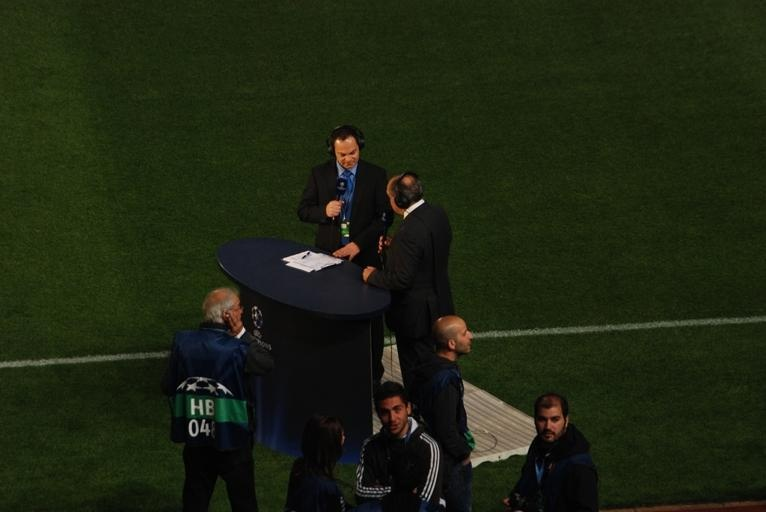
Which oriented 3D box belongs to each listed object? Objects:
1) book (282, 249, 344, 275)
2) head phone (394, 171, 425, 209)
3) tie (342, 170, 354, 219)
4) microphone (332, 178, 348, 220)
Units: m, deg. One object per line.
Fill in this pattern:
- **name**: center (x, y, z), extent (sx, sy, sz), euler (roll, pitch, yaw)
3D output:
- **book**: center (-0.726, 0.054, 7.938), extent (0.513, 0.112, 0.452), euler (10, 14, 33)
- **head phone**: center (0.243, -0.642, 7.661), extent (0.270, 0.299, 0.343), euler (-4, -5, 16)
- **tie**: center (-0.362, -0.663, 8.407), extent (0.097, 0.397, 0.278), euler (6, 55, -10)
- **microphone**: center (-0.432, -0.671, 8.358), extent (0.130, 0.275, 0.176), euler (3, 12, 3)
